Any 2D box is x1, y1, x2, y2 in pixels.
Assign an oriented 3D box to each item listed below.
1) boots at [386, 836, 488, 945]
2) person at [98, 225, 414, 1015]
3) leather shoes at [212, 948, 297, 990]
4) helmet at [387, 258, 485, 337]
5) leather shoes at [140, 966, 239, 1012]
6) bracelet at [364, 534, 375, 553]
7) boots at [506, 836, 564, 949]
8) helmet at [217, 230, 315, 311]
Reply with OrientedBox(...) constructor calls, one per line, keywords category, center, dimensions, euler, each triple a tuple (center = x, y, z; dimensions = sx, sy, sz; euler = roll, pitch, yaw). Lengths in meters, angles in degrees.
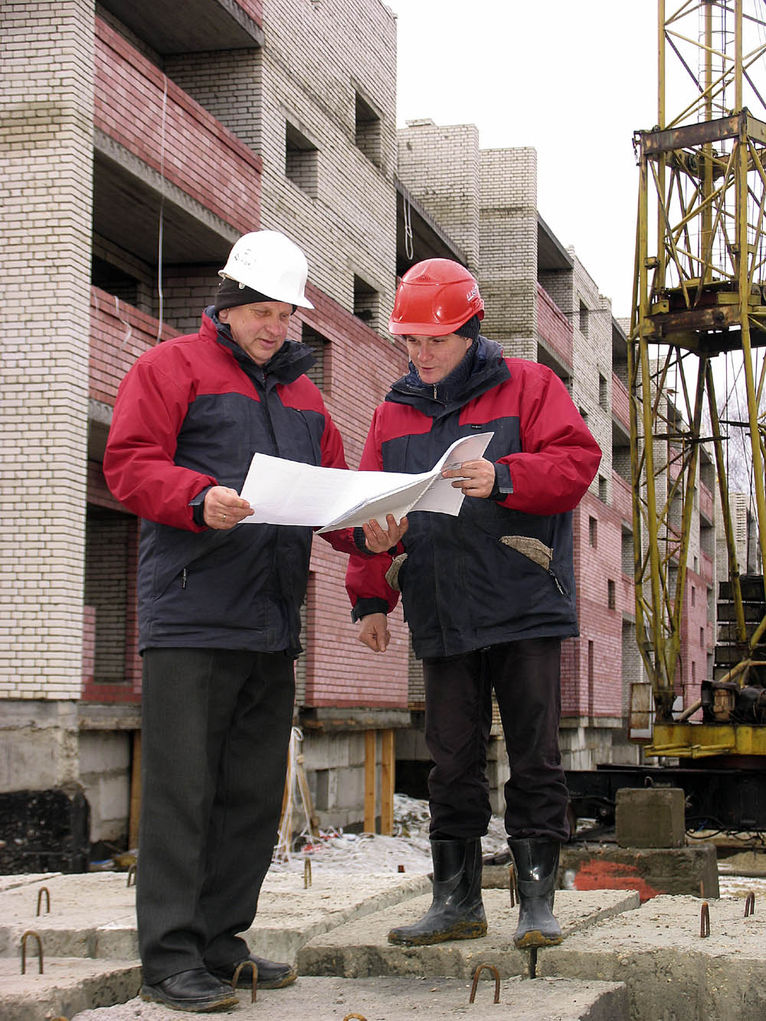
OrientedBox(category="boots", center=(0.160, 1.271, 5.165), dimensions=(0.392, 0.336, 0.167), euler=(2, -9, -34))
OrientedBox(category="person", center=(-0.465, 0.257, 4.682), dimensions=(0.593, 2.350, 0.758), euler=(-11, -12, 36))
OrientedBox(category="leather shoes", center=(-0.381, 1.369, 4.659), dimensions=(0.288, 0.107, 0.102), euler=(3, -3, -32))
OrientedBox(category="helmet", center=(0.174, -0.719, 5.147), dimensions=(0.252, 0.181, 0.331), euler=(3, 15, 21))
OrientedBox(category="leather shoes", center=(-0.568, 1.339, 4.319), dimensions=(0.319, 0.111, 0.140), euler=(-6, -10, 17))
OrientedBox(category="bracelet", center=(-0.046, 0.105, 5.089), dimensions=(0.043, 0.049, 0.026), euler=(-4, -5, 5))
OrientedBox(category="boots", center=(0.494, 1.222, 4.968), dimensions=(0.167, 0.332, 0.347), euler=(-5, -10, 5))
OrientedBox(category="helmet", center=(-0.385, -0.755, 4.834), dimensions=(0.238, 0.161, 0.310), euler=(9, 4, -26))
